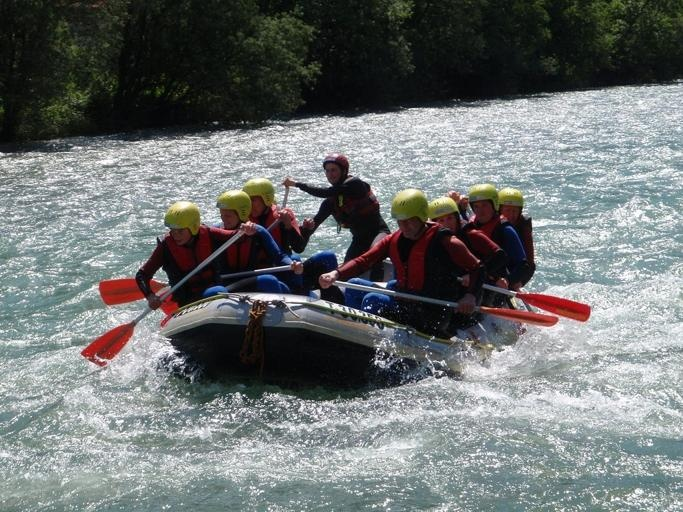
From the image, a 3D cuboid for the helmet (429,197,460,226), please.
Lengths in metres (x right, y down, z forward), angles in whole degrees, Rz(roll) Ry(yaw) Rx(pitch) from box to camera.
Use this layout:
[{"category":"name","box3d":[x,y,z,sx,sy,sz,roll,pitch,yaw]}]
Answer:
[{"category":"helmet","box3d":[1.179,-0.535,9.617,0.338,0.247,0.277,1,10,5]}]

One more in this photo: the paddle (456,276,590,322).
[{"category":"paddle","box3d":[2.130,0.533,9.966,1.952,0.187,0.212,12,16,2]}]

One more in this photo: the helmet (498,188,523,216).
[{"category":"helmet","box3d":[2.148,-0.672,10.574,0.317,0.293,0.257,4,26,2]}]

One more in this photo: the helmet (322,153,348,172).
[{"category":"helmet","box3d":[-0.033,-1.202,10.783,0.356,0.185,0.224,-9,18,-26]}]

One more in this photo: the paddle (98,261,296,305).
[{"category":"paddle","box3d":[-1.513,0.203,9.941,2.619,0.093,0.593,-12,-27,-11]}]

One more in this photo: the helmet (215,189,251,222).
[{"category":"helmet","box3d":[-1.233,-0.573,9.788,0.422,0.359,0.260,-3,11,-19]}]

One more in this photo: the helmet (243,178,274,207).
[{"category":"helmet","box3d":[-0.979,-0.767,10.295,0.476,0.279,0.330,-13,19,-13]}]

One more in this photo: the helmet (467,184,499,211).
[{"category":"helmet","box3d":[1.732,-0.710,10.189,0.364,0.296,0.340,2,10,8]}]

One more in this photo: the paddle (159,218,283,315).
[{"category":"paddle","box3d":[-1.510,0.100,9.514,1.128,0.410,1.348,-7,-5,-23]}]
